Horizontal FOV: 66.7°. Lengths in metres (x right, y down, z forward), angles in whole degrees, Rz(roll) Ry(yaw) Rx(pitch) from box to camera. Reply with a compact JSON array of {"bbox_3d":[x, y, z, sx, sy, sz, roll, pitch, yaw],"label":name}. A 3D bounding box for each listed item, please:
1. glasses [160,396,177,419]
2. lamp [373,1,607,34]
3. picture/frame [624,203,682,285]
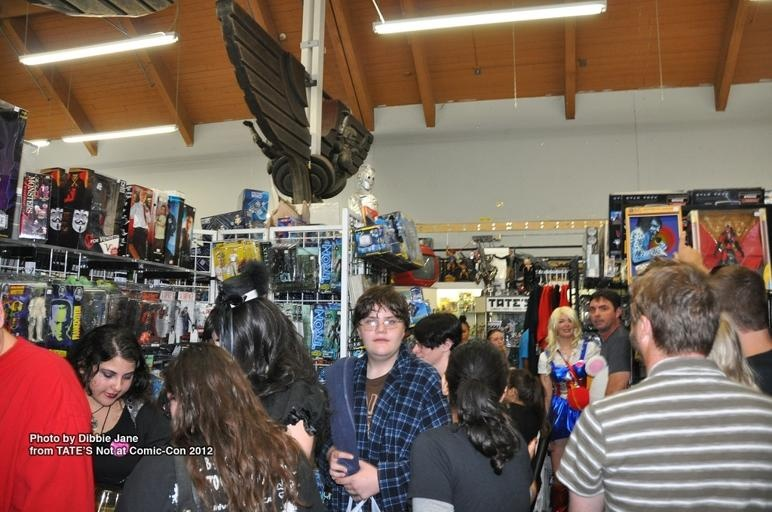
[{"bbox_3d":[-0.850,0.587,2.302,0.038,0.125,0.089,-3,-5,-24],"label":"glasses"},{"bbox_3d":[1.384,-3.233,7.866,2.940,0.306,0.345,-2,-7,12],"label":"lamp"},{"bbox_3d":[1.953,-0.097,4.251,0.376,0.570,0.059,-1,-28,24],"label":"picture/frame"}]
